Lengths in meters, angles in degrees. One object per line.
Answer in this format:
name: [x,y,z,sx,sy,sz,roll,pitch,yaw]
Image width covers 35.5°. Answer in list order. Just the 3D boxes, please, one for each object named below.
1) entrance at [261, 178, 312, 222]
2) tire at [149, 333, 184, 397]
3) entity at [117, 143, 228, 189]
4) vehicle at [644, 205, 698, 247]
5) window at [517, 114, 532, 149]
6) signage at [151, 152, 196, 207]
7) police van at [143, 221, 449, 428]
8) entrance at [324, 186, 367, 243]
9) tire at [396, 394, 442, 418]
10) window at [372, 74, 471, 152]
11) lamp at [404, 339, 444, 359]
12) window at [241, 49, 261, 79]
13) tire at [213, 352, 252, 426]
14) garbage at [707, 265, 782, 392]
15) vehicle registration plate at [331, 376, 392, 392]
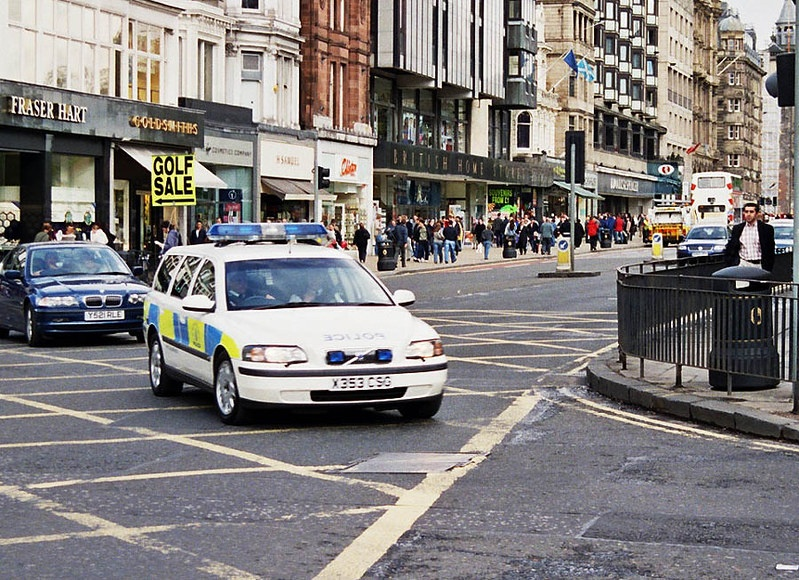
entrance: [-4.001,-3.748,49.501,1.207,1.349,4.119,2,4,23]
tire: [-2.776,0.860,14.895,0.249,0.758,0.747,0,9,-22]
entity: [-6.962,-3.749,37.768,0.935,0.668,2.186,18,1,33]
vehicle: [14.775,-2.981,67.792,2.851,2.999,5.006,0,6,12]
window: [7.955,-10.093,79.570,0.113,2.816,2.021,3,6,31]
signage: [-5.766,-2.819,32.143,1.527,1.789,0.077,0,7,14]
police van: [-1.443,0.311,13.789,1.792,1.360,3.349,1,-2,-26]
entrance: [-2.363,-3.556,54.324,2.650,2.549,0.853,-6,37,1]
tire: [0.224,1.220,13.093,0.440,0.278,0.559,-1,2,0]
window: [1.163,-8.760,63.471,0.319,2.992,12.754,0,2,23]
lamp: [0.280,0.593,12.859,0.156,0.190,0.499,0,2,34]
window: [-5.524,-8.410,46.620,1.038,1.265,0.143,3,-6,-40]
tire: [-1.697,0.991,13.005,0.231,0.748,0.730,0,8,-28]
garbage: [3.862,0.394,13.725,0.766,1.357,0.804,2,-1,16]
vehicle registration plate: [-0.358,0.916,12.488,0.594,0.138,0.032,-1,2,-15]
